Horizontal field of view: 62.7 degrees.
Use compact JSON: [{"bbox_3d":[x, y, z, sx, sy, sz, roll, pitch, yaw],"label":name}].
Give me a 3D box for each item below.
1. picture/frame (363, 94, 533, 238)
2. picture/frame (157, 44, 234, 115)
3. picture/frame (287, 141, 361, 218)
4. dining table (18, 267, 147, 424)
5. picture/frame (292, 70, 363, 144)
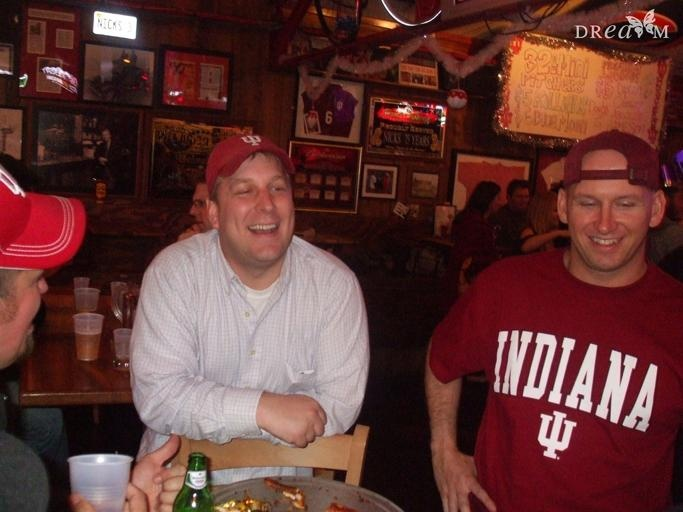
[{"bbox_3d":[1.351,-1.295,7.686,2.033,1.224,0.141,6,0,-18],"label":"picture/frame"},{"bbox_3d":[-1.722,-2.073,6.460,0.837,0.716,0.117,3,5,-21],"label":"picture/frame"},{"bbox_3d":[-0.242,-1.052,7.327,0.949,0.844,0.078,3,10,-15],"label":"picture/frame"},{"bbox_3d":[-1.452,0.546,3.147,0.549,0.303,1.254,0,16,-10],"label":"dining table"},{"bbox_3d":[-0.148,-1.837,7.195,0.795,0.849,0.779,0,45,1],"label":"picture/frame"}]
